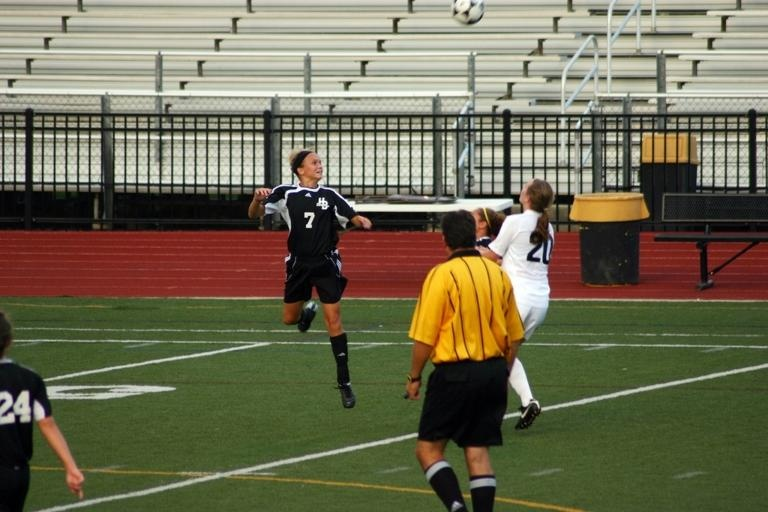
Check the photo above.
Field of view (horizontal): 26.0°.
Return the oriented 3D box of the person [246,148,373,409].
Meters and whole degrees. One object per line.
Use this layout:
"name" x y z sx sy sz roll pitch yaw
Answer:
"person" -0.971 0.340 24.141 1.391 3.682 0.785 0 1 27
